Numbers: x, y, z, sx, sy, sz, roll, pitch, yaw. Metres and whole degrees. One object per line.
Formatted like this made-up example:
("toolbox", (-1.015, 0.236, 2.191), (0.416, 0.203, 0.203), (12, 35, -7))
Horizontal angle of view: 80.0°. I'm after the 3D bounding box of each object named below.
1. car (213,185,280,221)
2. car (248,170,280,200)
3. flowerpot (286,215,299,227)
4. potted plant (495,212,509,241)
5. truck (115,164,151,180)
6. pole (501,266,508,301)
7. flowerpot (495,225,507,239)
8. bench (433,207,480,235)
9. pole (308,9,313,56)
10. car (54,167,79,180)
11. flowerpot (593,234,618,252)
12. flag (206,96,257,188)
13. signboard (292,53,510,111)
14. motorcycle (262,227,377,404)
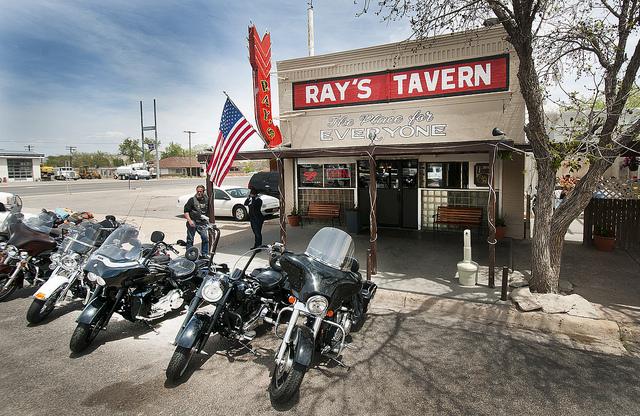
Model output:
("car", (-3.520, -0.272, 19.200), (4.285, 1.331, 1.755), (-1, 4, 32))
("car", (-3.132, -0.961, 21.624), (2.065, 1.786, 1.665), (1, -29, -12))
("flowerpot", (-1.183, 0.585, 16.810), (0.449, 0.332, 0.449), (-1, -2, -5))
("potted plant", (6.675, 0.651, 14.007), (0.385, 0.986, 0.660), (3, 5, 33))
("truck", (-29.257, -5.678, 59.658), (6.087, 2.486, 2.788), (3, 4, 36))
("pole", (4.286, 1.772, 8.861), (0.096, 0.803, 0.293), (2, 5, 20))
("flowerpot", (6.569, 0.902, 13.968), (0.553, 0.435, 0.569), (1, 11, 25))
("bench", (5.085, 0.498, 14.088), (1.623, 1.011, 0.664), (3, 8, 30))
("pole", (-0.466, -8.618, 18.618), (0.237, 2.177, 0.146), (3, 5, 31))
("car", (-43.449, -5.960, 64.831), (2.403, 2.274, 8.126), (-3, 5, -42))
("flowerpot", (9.041, 1.107, 12.093), (0.505, 0.379, 0.514), (1, 2, 11))
("flag", (-2.714, -1.991, 11.457), (1.479, 2.640, 0.722), (3, 5, 37))
("signboard", (2.891, -4.532, 13.904), (7.250, 1.353, 0.115), (1, 5, 21))
("motorcycle", (-0.002, 1.793, 6.944), (1.873, 2.839, 1.535), (-1, 4, -11))
